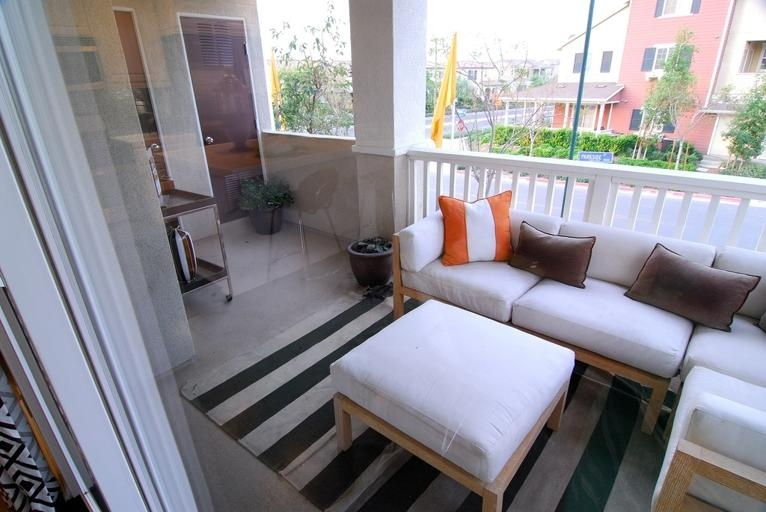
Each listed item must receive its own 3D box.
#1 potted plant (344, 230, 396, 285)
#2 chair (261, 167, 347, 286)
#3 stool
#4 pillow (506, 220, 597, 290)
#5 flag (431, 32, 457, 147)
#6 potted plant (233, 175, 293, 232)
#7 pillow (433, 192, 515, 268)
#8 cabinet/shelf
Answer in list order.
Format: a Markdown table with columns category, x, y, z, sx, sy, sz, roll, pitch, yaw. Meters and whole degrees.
| category | x | y | z | sx | sy | sz | roll | pitch | yaw |
| --- | --- | --- | --- | --- | --- | --- | --- | --- | --- |
| potted plant | -0.088 | 0.017 | 3.454 | 0.324 | 0.237 | 0.315 | 5 | 26 | 13 |
| chair | -0.484 | -0.204 | 2.964 | 0.459 | 0.626 | 0.418 | 20 | 39 | 27 |
| stool | 0.299 | 0.551 | 2.149 | 0.823 | 0.530 | 0.851 | 18 | 33 | 32 |
| pillow | 0.973 | 0.002 | 2.819 | 0.353 | 0.227 | 0.136 | 18 | 26 | 33 |
| flag | 0.459 | -1.215 | 3.686 | 0.176 | 0.811 | 0.107 | 3 | 25 | 8 |
| potted plant | -0.625 | -0.278 | 2.668 | 0.254 | 0.305 | 0.304 | 14 | 28 | 21 |
| pillow | 0.559 | -0.144 | 3.025 | 0.500 | 0.475 | 0.186 | -2 | -1 | 8 |
| cabinet/shelf | -0.771 | -0.081 | 2.060 | 0.252 | 0.380 | 0.442 | -16 | 33 | -30 |
